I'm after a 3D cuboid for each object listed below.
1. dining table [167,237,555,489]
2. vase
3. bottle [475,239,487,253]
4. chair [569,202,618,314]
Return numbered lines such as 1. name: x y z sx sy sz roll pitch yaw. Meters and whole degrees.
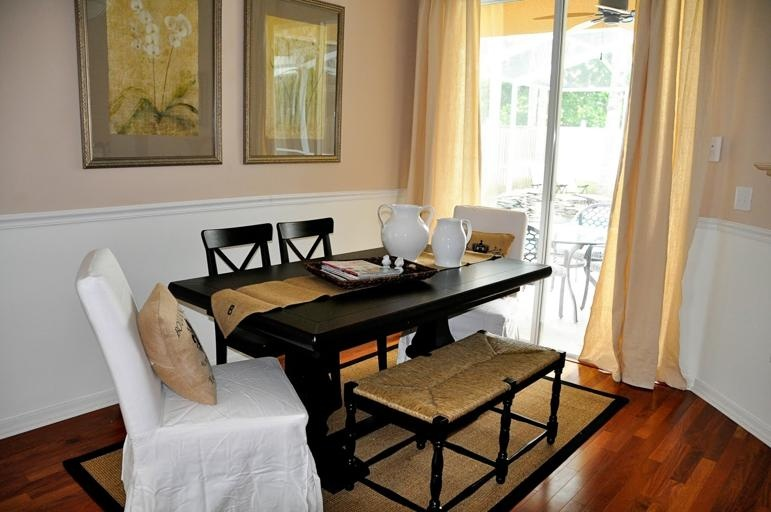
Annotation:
1. dining table: -0.262 -0.013 2.920 1.240 1.086 2.229 14 20 39
2. vase: 0.124 -0.156 3.442 0.363 0.375 0.325 -5 15 -31
3. bottle: 0.742 -0.074 3.979 0.083 0.085 0.031 3 -23 3
4. chair: 1.705 0.007 4.365 0.279 0.923 0.160 3 17 21
